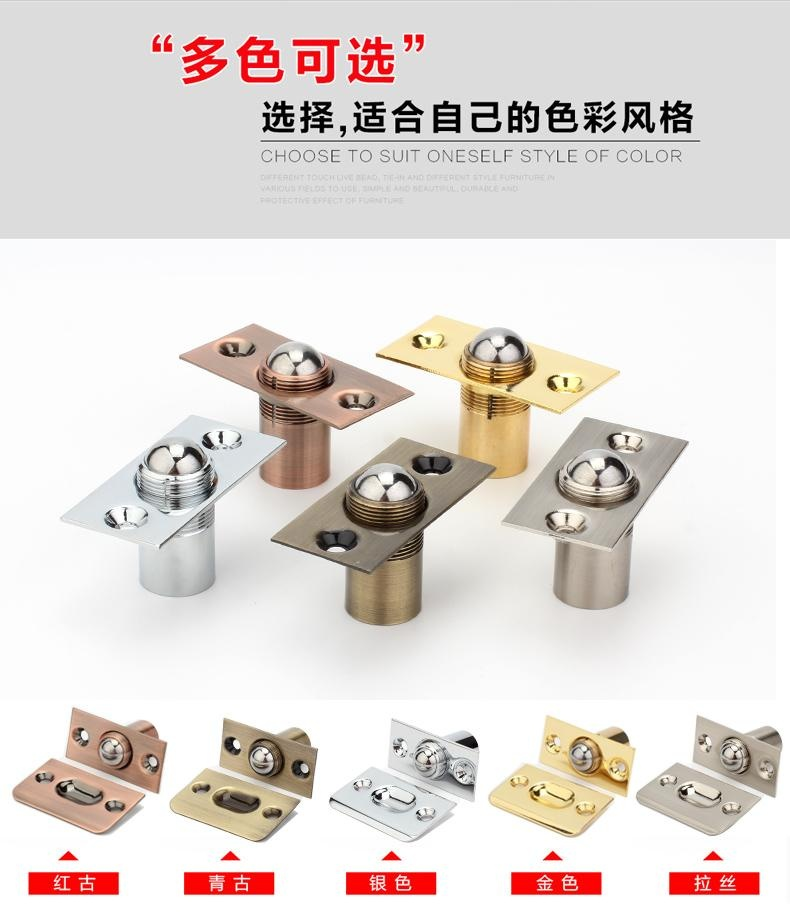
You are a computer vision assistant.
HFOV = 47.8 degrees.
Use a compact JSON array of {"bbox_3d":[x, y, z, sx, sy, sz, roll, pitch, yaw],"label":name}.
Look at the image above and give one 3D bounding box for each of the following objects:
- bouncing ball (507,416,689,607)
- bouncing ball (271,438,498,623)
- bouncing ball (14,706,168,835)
[{"bbox_3d":[1.040,0.295,4.539,0.462,0.584,0.881,15,39,28],"label":"bouncing ball"},{"bbox_3d":[-0.058,0.378,4.453,0.387,0.522,0.829,22,38,28],"label":"bouncing ball"},{"bbox_3d":[-1.162,1.148,3.330,0.558,0.271,0.300,8,14,33],"label":"bouncing ball"}]
